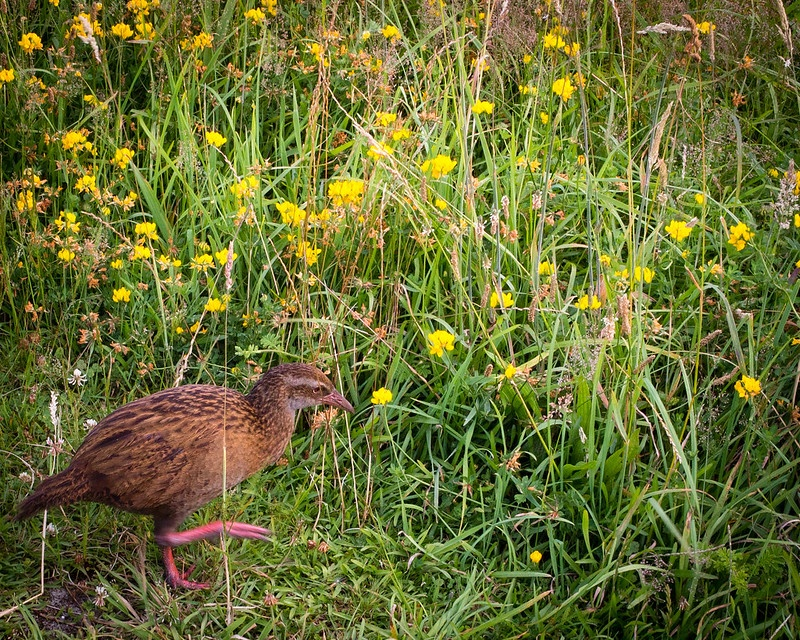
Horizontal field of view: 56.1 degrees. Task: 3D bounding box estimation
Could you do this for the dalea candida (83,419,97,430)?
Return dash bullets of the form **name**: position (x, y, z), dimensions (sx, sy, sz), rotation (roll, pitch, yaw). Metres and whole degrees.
- **dalea candida**: position (-1.469, 0.493, 3.522), dimensions (0.048, 0.029, 0.050), rotation (-22, 1, 15)
